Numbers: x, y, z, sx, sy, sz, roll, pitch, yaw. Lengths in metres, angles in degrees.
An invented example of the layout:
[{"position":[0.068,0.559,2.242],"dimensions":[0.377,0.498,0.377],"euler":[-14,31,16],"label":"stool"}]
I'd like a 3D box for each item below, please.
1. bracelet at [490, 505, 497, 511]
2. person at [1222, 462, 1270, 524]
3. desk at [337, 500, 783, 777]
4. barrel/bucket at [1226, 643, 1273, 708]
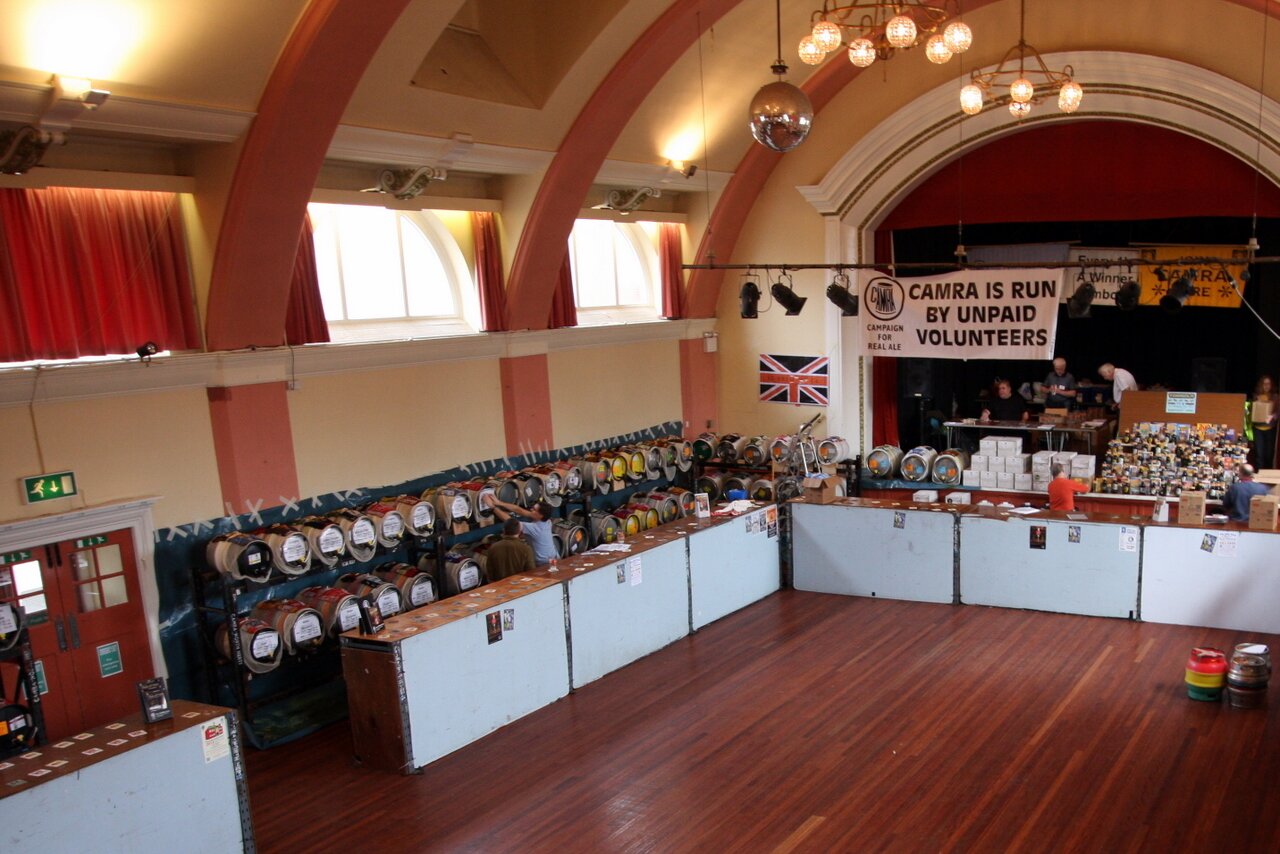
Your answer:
[{"position":[-1.908,0.995,10.792],"dimensions":[0.058,0.062,0.109],"euler":[8,5,9],"label":"bracelet"},{"position":[7.463,0.799,10.299],"dimensions":[0.377,0.829,0.468],"euler":[6,38,27],"label":"person"},{"position":[-0.438,2.098,10.029],"dimensions":[6.148,1.386,0.885],"euler":[-15,17,-40],"label":"desk"},{"position":[6.028,2.449,8.283],"dimensions":[0.407,0.539,0.277],"euler":[-8,13,-17],"label":"barrel/bucket"}]
